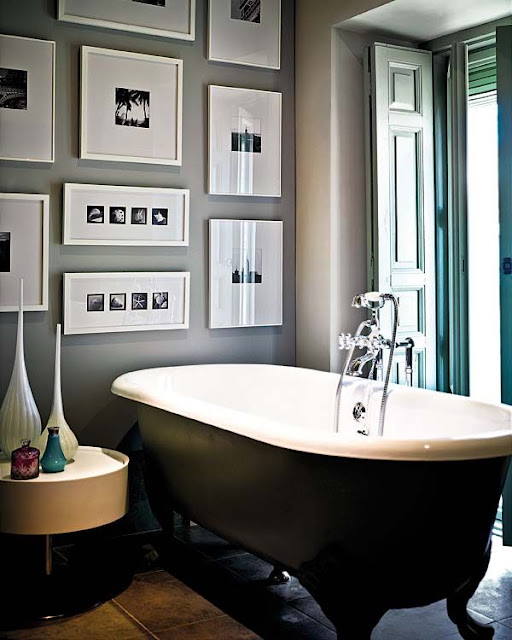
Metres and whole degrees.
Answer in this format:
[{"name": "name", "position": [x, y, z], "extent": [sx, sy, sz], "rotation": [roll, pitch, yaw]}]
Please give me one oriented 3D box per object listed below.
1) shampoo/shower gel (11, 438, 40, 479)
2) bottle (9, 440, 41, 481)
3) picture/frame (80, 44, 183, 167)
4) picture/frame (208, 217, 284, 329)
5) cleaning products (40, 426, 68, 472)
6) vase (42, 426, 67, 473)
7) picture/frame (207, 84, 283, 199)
[{"name": "shampoo/shower gel", "position": [-0.698, 0.431, 1.771], "extent": [0.079, 0.124, 0.099], "rotation": [1, -3, 0]}, {"name": "bottle", "position": [-0.704, 0.434, 1.766], "extent": [0.078, 0.121, 0.097], "rotation": [1, -3, -4]}, {"name": "picture/frame", "position": [-0.559, -0.926, 2.455], "extent": [0.459, 0.566, 0.021], "rotation": [1, -1, -37]}, {"name": "picture/frame", "position": [-0.064, -0.233, 2.767], "extent": [0.438, 0.737, 0.025], "rotation": [0, 0, -37]}, {"name": "cleaning products", "position": [-0.649, 0.422, 1.818], "extent": [0.070, 0.146, 0.059], "rotation": [9, -25, -39]}, {"name": "vase", "position": [-0.661, 0.417, 1.845], "extent": [0.076, 0.142, 0.127], "rotation": [0, -2, -22]}, {"name": "picture/frame", "position": [-0.068, -0.860, 2.738], "extent": [0.462, 0.779, 0.048], "rotation": [0, 0, -36]}]
